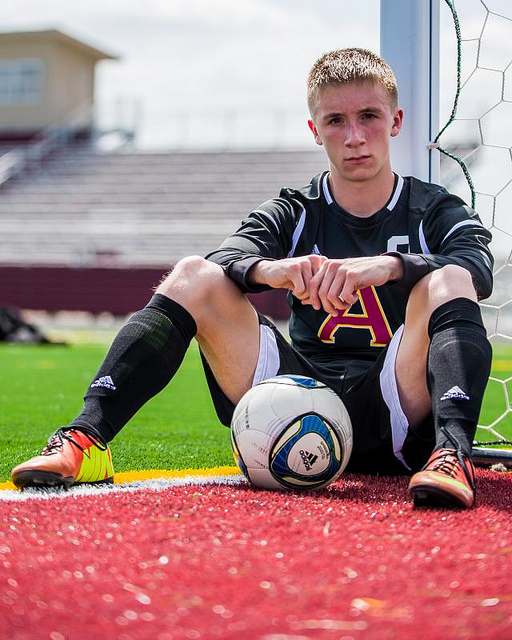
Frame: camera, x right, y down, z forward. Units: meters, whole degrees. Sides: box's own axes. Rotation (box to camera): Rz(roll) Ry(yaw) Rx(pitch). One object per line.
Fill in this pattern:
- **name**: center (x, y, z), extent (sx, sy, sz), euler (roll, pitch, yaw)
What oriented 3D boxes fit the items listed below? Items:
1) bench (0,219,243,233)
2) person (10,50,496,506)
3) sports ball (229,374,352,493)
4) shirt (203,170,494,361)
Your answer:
- **bench**: center (-2.688, -1.797, 14.704), extent (2.705, 0.053, 0.307), euler (2, 34, -3)
- **person**: center (0.122, -0.182, 1.803), extent (0.836, 1.091, 0.726), euler (0, -2, 15)
- **sports ball**: center (0.069, 0.241, 1.642), extent (0.262, 0.240, 0.183), euler (0, -2, 12)
- **shirt**: center (0.291, -0.164, 1.962), extent (0.597, 0.356, 0.643), euler (2, 10, 16)
